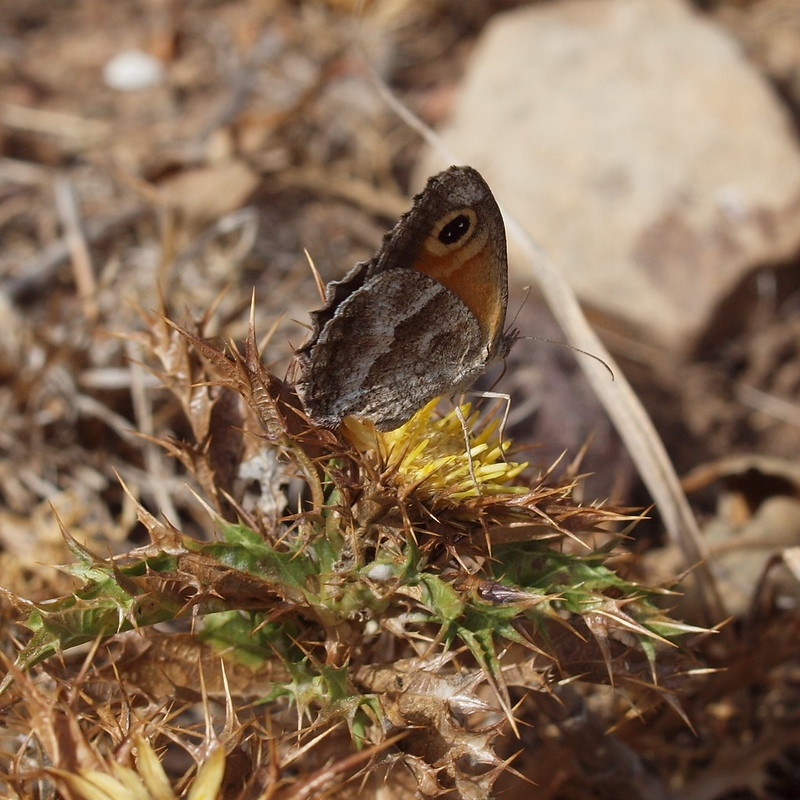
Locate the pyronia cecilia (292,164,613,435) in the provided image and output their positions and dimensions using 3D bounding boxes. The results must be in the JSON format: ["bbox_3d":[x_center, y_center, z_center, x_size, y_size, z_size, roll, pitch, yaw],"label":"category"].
[{"bbox_3d":[0.086,-0.242,3.094,0.495,0.579,0.921,36,82,4],"label":"pyronia cecilia"}]
